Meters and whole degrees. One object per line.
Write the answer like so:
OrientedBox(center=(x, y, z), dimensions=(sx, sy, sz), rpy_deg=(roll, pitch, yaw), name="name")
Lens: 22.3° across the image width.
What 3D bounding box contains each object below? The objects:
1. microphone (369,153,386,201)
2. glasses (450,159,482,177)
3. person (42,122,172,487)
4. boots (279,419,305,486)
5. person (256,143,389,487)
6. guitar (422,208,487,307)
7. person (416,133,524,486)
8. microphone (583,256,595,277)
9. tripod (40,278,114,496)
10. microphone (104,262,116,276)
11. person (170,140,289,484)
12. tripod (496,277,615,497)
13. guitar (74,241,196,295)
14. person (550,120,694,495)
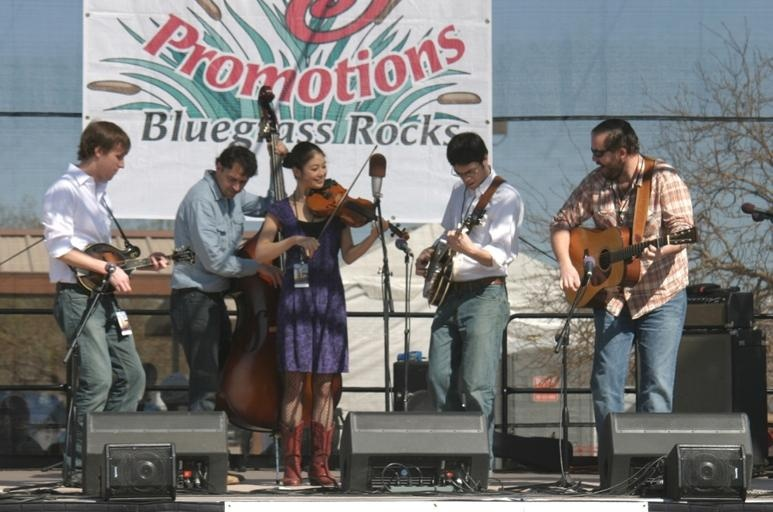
OrientedBox(center=(-0.079, -0.630, 15.285), dimensions=(0.118, 0.387, 0.319), rpy_deg=(-1, -3, -2), name="microphone")
OrientedBox(center=(0.635, -0.696, 15.371), dimensions=(0.230, 0.119, 0.115), rpy_deg=(-1, -3, 6), name="glasses")
OrientedBox(center=(-2.409, 0.327, 15.502), dimensions=(1.313, 2.736, 1.012), rpy_deg=(0, -5, 5), name="person")
OrientedBox(center=(-0.752, 1.549, 15.426), dimensions=(0.169, 0.501, 0.195), rpy_deg=(-1, -3, -5), name="boots")
OrientedBox(center=(-0.617, 0.443, 15.426), dimensions=(0.836, 2.704, 0.338), rpy_deg=(-1, -3, -4), name="person")
OrientedBox(center=(0.528, -0.004, 15.485), dimensions=(0.527, 0.752, 0.447), rpy_deg=(1, 1, -1), name="guitar")
OrientedBox(center=(0.664, 0.338, 15.374), dimensions=(0.821, 2.647, 0.532), rpy_deg=(-1, -3, 8), name="person")
OrientedBox(center=(1.581, 0.061, 15.182), dimensions=(0.108, 0.128, 0.128), rpy_deg=(0, 7, 5), name="microphone")
OrientedBox(center=(-2.415, 0.972, 15.399), dimensions=(0.558, 1.467, 0.557), rpy_deg=(-4, -25, 13), name="tripod")
OrientedBox(center=(-2.178, 0.087, 15.344), dimensions=(0.096, 0.085, 0.093), rpy_deg=(12, 12, -19), name="microphone")
OrientedBox(center=(-1.265, 0.357, 15.962), dimensions=(1.023, 2.383, 0.755), rpy_deg=(1, 3, -30), name="person")
OrientedBox(center=(1.373, 1.256, 16.772), dimensions=(0.722, 1.464, 0.744), rpy_deg=(-1, -1, 37), name="tripod")
OrientedBox(center=(-2.053, 0.015, 15.556), dimensions=(0.955, 0.333, 0.094), rpy_deg=(-7, -5, -38), name="guitar")
OrientedBox(center=(1.881, 0.126, 15.286), dimensions=(1.086, 2.424, 0.518), rpy_deg=(-1, -3, 9), name="person")
